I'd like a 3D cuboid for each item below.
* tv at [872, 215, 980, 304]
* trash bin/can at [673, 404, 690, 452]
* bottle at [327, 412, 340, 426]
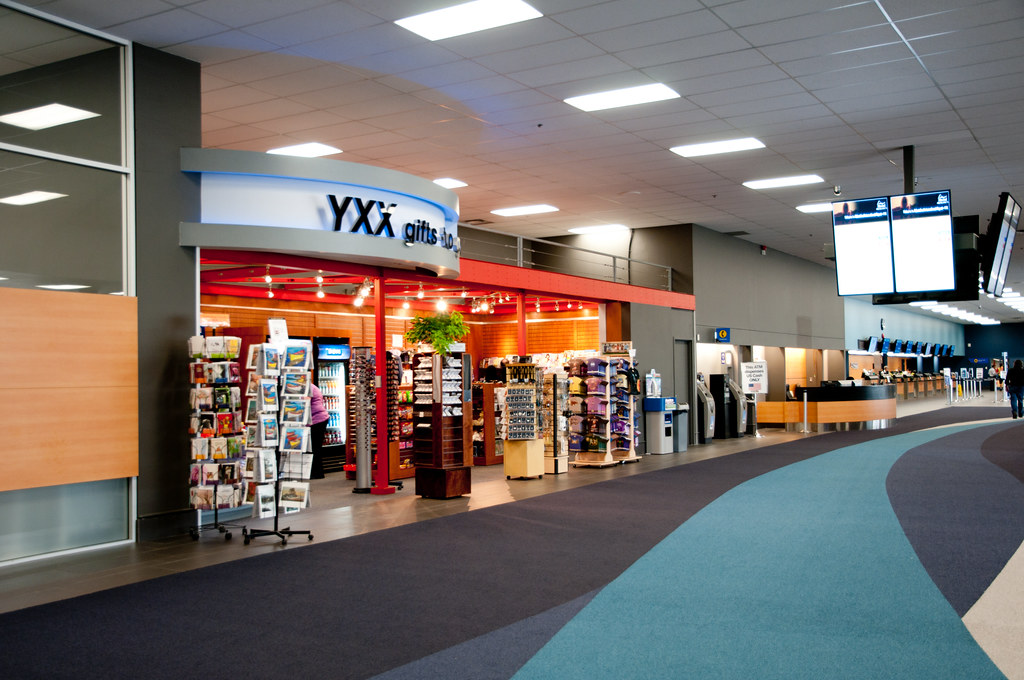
[{"bbox_3d":[7.027,-1.346,12.148,2.120,1.382,1.961,-1,0,39],"label":"tv"},{"bbox_3d":[3.986,2.067,16.331,0.258,1.049,0.625,-2,-2,22],"label":"trash bin/can"},{"bbox_3d":[-3.729,1.643,14.478,0.275,0.233,0.064,1,-4,-36],"label":"bottle"}]
